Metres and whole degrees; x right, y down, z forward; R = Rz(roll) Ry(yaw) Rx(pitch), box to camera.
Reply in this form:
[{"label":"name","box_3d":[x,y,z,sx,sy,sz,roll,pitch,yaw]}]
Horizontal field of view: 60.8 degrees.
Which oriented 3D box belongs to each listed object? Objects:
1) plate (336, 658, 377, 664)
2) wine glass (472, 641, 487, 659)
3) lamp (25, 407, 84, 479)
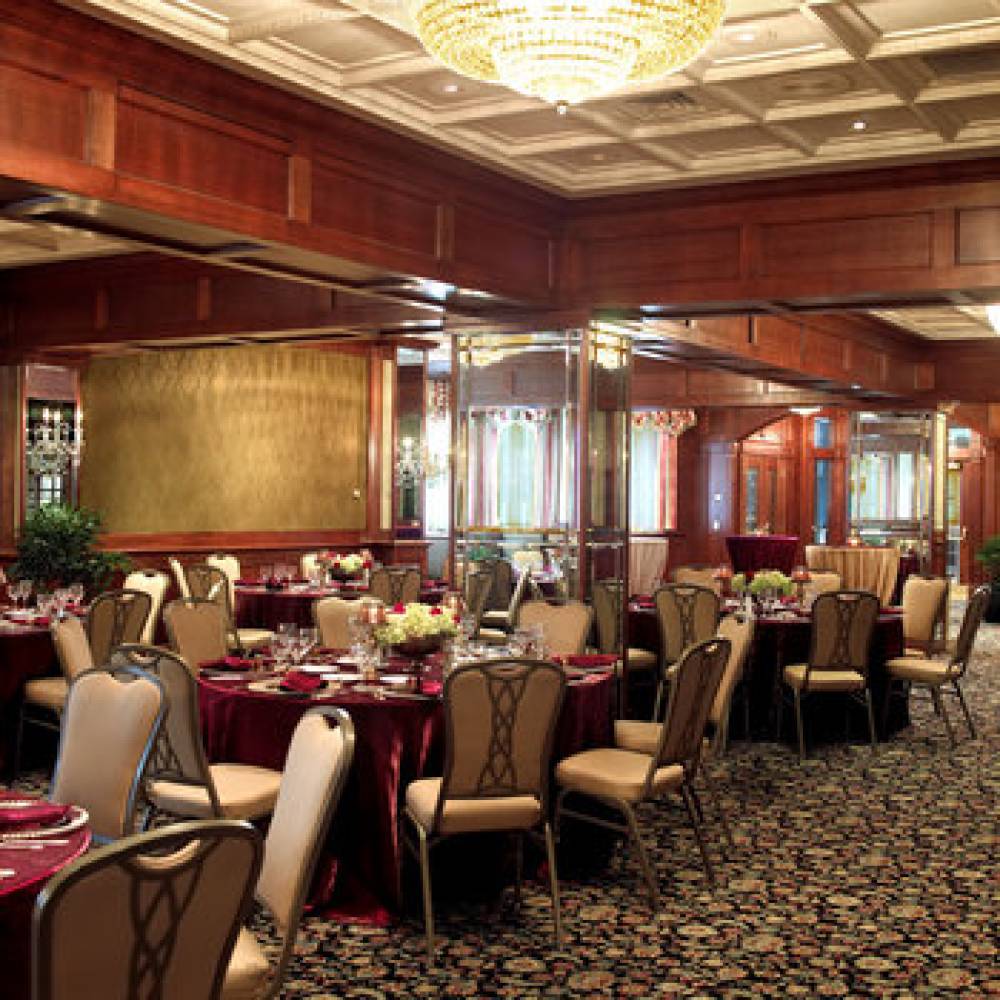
[{"label":"plate","box_3d":[-0.617,0.700,3.707,0.135,0.027,0.133,1,-4,-3]},{"label":"wine glass","box_3d":[-0.085,0.661,3.755,0.063,0.055,0.060,0,0,5]},{"label":"lamp","box_3d":[-5.035,-0.687,9.664,0.534,0.867,1.420,-1,1,-28]}]
